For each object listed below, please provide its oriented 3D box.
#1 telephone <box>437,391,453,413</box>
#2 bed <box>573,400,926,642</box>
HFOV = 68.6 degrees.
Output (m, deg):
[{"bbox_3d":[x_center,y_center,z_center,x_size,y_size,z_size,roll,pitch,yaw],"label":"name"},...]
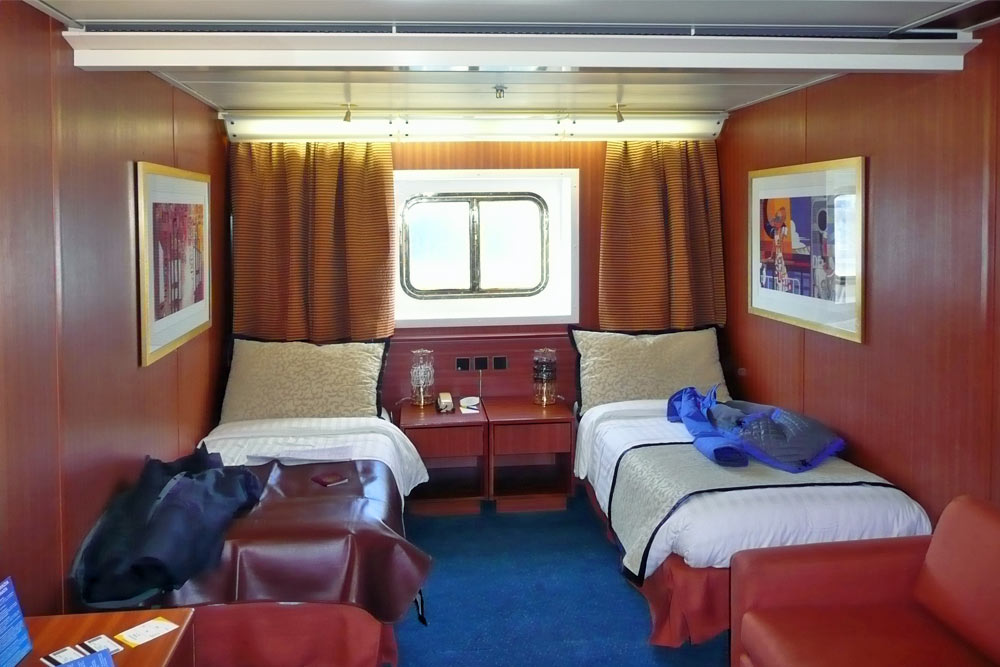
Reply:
[{"bbox_3d":[-0.429,0.487,5.646,0.109,0.072,0.323,-1,6,-7],"label":"telephone"},{"bbox_3d":[1.283,0.963,4.926,1.364,0.555,2.044,2,11,-11],"label":"bed"}]
